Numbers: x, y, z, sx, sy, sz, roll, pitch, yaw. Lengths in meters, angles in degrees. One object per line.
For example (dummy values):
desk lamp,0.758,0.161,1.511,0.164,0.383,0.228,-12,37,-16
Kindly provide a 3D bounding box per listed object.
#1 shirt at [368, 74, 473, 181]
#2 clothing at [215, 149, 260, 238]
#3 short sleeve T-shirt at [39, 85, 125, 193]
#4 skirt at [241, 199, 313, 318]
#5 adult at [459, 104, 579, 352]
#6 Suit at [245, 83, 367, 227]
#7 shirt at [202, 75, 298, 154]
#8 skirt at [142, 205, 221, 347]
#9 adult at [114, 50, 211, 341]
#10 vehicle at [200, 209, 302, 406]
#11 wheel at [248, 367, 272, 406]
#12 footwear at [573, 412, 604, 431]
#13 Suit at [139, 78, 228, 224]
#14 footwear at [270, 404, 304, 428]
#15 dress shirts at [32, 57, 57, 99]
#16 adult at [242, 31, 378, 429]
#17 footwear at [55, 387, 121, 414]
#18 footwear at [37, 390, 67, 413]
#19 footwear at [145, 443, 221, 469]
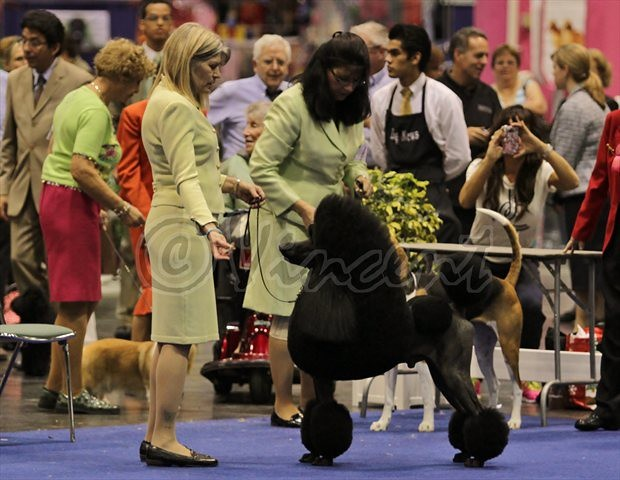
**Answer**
shirt,0.879,-0.891,8.889,0.827,1.071,0.505,2,9,35
clothing,-0.564,-0.339,8.254,0.406,0.681,0.209,-2,-7,4
short sleeve T-shirt,-1.636,-0.699,7.772,0.452,0.730,0.731,9,-7,-33
skirt,-0.263,0.101,7.350,0.290,0.569,0.337,0,-3,16
adult,1.593,0.098,8.489,0.770,2.660,0.992,-11,25,-8
Suit,0.005,-0.524,6.998,0.834,1.047,0.501,-4,19,-39
shirt,-0.460,-0.960,8.401,0.846,0.590,0.254,0,3,-9
skirt,-0.764,0.112,6.437,0.422,0.981,0.435,-8,27,-23
adult,-1.215,-0.542,8.400,0.599,2.599,0.532,2,-1,-25
vehicle,-0.565,0.575,8.932,0.537,1.360,1.235,-4,8,-25
wheel,-0.386,1.138,8.561,0.126,0.386,0.341,2,3,6
footwear,1.919,1.249,7.501,0.230,0.134,0.087,4,-7,-11
Suit,-0.773,-0.525,6.500,0.355,0.825,1.071,-1,13,-14
footwear,-0.157,1.240,7.646,0.134,0.172,0.356,8,-15,-39
dress shirts,-2.195,-1.335,9.024,0.194,0.333,0.109,8,8,5
adult,0.014,-0.020,7.326,0.884,2.678,0.737,-9,17,-43
footwear,-1.629,1.159,8.083,0.520,0.280,0.193,0,-2,-9
footwear,-1.898,1.191,8.047,0.270,0.146,0.121,2,-5,13
footwear,-0.749,1.266,6.406,0.411,0.169,0.164,1,-3,-7
